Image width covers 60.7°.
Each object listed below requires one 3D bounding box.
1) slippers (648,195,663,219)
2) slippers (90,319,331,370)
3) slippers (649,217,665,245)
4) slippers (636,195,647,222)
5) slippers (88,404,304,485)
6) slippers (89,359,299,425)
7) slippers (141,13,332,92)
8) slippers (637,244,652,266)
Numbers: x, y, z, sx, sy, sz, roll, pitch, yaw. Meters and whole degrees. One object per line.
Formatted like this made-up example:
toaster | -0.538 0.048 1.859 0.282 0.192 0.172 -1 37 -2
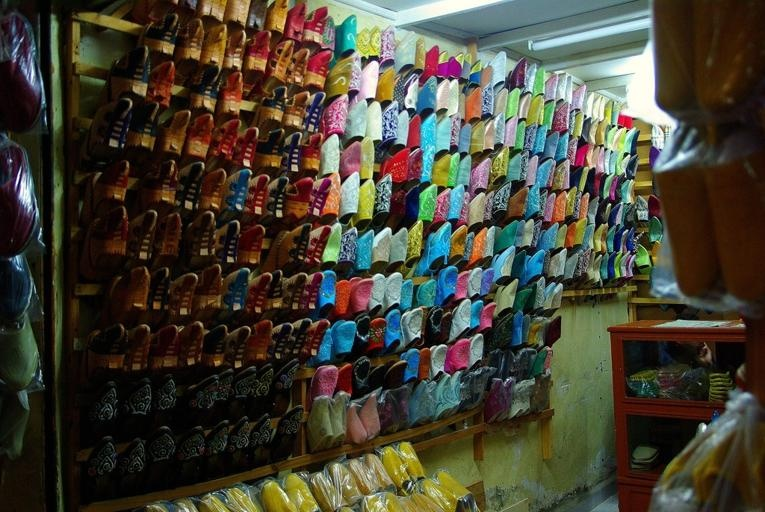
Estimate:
slippers | 2.594 -0.492 6.281 0.096 0.257 0.262 -2 -6 22
slippers | -0.820 0.426 3.208 0.936 0.308 0.342 1 -1 -19
slippers | 2.577 -0.261 6.216 0.113 0.243 0.229 -2 -6 21
slippers | 2.444 -0.453 6.178 0.099 0.309 0.081 -5 -10 31
slippers | -0.913 0.908 3.297 1.006 0.391 0.309 4 -4 -35
slippers | -0.898 0.669 3.215 0.911 0.365 0.315 6 -10 -23
slippers | -0.672 -1.054 3.323 0.493 0.268 0.678 -1 9 -26
slippers | 2.528 -0.001 6.317 0.091 0.284 0.115 0 -11 19
